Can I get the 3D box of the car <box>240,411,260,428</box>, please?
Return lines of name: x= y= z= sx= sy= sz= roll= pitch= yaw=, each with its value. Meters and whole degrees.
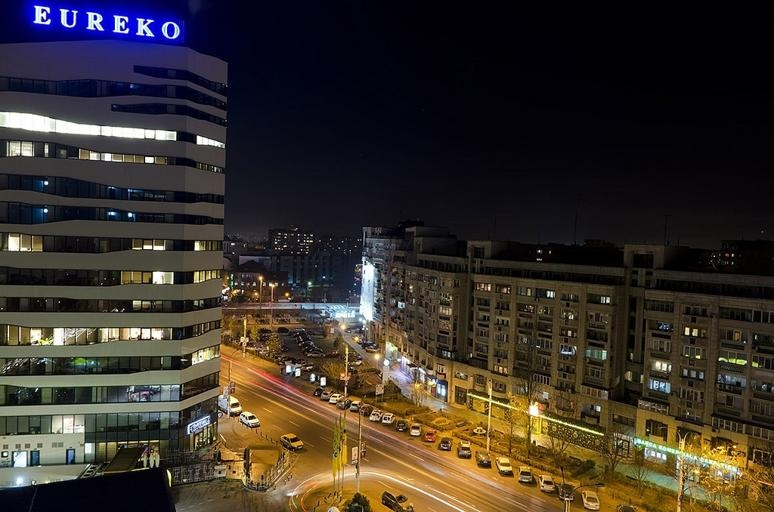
car: x=-25.648 y=29.954 z=124.887 sx=2.143 sy=2.380 sz=4.017 roll=2 pitch=-3 yaw=-40

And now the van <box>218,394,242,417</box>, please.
van: x=-30.565 y=28.362 z=130.668 sx=3.387 sy=3.075 sz=5.795 roll=1 pitch=-2 yaw=-33
